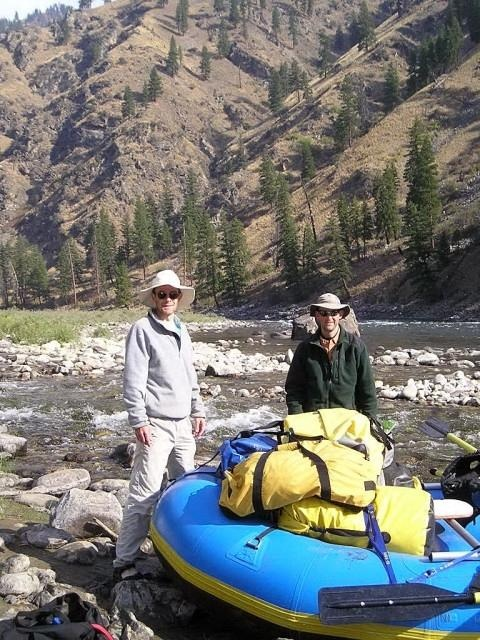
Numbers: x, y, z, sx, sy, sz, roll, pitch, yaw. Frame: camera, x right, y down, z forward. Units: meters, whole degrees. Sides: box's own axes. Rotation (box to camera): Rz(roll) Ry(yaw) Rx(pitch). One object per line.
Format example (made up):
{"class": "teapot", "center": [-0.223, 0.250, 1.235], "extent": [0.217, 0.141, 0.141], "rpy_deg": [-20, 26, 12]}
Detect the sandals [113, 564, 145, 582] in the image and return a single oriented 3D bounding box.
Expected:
{"class": "sandals", "center": [-0.814, 1.802, 4.567], "extent": [0.162, 0.053, 0.119], "rpy_deg": [2, -1, -42]}

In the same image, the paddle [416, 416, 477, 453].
{"class": "paddle", "center": [1.660, 0.945, 5.106], "extent": [0.193, 0.072, 0.672], "rpy_deg": [-30, 16, -16]}

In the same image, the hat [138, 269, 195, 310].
{"class": "hat", "center": [-0.553, -0.322, 5.077], "extent": [0.368, 0.190, 0.370], "rpy_deg": [0, -20, -4]}

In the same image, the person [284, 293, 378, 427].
{"class": "person", "center": [0.702, 0.307, 5.284], "extent": [0.746, 1.011, 0.470], "rpy_deg": [-9, 1, 3]}
